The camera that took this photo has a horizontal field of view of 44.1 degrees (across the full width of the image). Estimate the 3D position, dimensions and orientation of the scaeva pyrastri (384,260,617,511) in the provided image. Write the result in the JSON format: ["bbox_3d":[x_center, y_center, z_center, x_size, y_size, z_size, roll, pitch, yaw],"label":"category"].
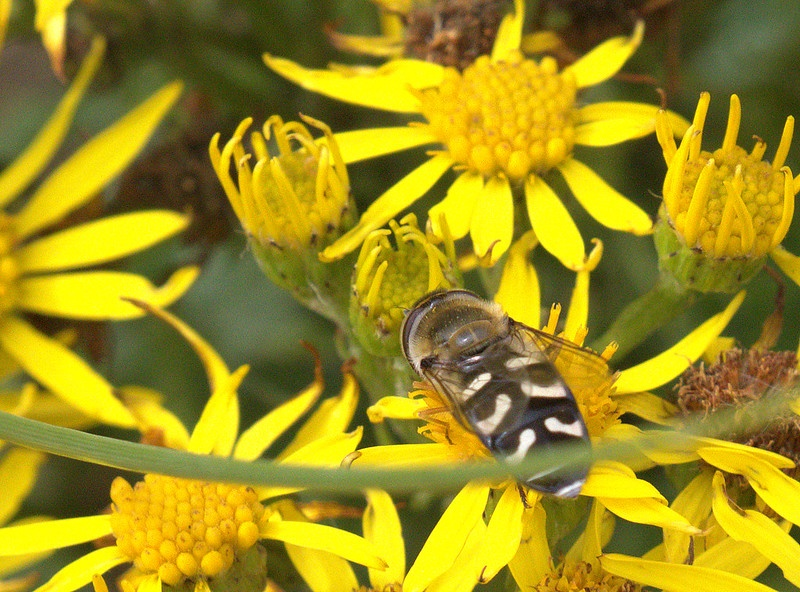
[{"bbox_3d":[0.132,0.107,1.274,0.211,0.097,0.274,-33,53,-15],"label":"scaeva pyrastri"}]
